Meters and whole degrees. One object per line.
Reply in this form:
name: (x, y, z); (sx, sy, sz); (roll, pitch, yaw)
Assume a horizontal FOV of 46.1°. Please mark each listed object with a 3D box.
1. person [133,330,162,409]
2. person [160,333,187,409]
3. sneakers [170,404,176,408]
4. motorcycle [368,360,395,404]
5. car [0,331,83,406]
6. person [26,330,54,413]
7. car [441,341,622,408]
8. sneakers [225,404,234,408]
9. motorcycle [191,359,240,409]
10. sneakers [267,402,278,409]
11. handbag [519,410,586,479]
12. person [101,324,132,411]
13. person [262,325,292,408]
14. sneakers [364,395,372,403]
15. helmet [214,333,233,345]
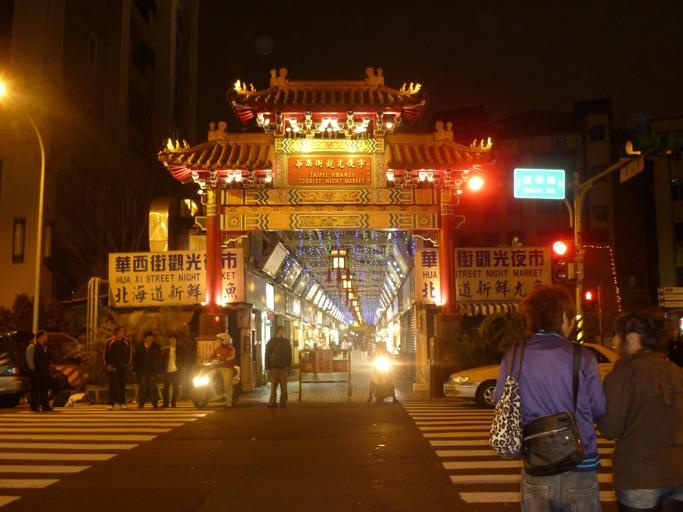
person: (-5.959, 3.474, 24.729); (0.807, 2.291, 0.595); (0, 1, -3)
person: (-5.291, 3.556, 24.984); (0.575, 2.209, 0.964); (0, 1, -2)
sneakers: (-5.211, 4.619, 24.807); (0.123, 0.075, 0.128); (-1, 20, -1)
motorcycle: (1.275, 3.873, 25.325); (0.829, 1.478, 1.242); (0, 0, 3)
car: (-9.699, 3.734, 26.571); (2.252, 2.530, 4.130); (0, 1, 4)
person: (-8.925, 3.358, 23.651); (0.687, 2.292, 0.958); (0, 1, -23)
car: (5.616, 3.574, 23.048); (5.124, 1.964, 2.362); (0, -7, 3)
sneakers: (-3.413, 4.507, 24.296); (0.188, 0.201, 0.122); (-3, -9, -1)
motorcycle: (-3.785, 4.017, 24.655); (0.892, 1.107, 1.687); (-10, -17, 31)
sneakers: (-2.070, 4.416, 24.010); (0.282, 0.161, 0.687); (0, 0, -5)
handbag: (3.028, 2.737, 11.601); (0.893, 0.902, 0.516); (-17, -38, 20)
person: (-6.871, 3.412, 24.556); (0.793, 2.434, 1.189); (0, 1, -23)
person: (-1.922, 3.276, 24.227); (0.689, 2.372, 0.589); (0, 1, -6)
sneakers: (0.842, 4.526, 25.442); (0.233, 0.189, 0.262); (0, -5, 0)
helmet: (-3.792, 2.612, 25.489); (0.467, 0.239, 0.699); (2, -6, -2)
